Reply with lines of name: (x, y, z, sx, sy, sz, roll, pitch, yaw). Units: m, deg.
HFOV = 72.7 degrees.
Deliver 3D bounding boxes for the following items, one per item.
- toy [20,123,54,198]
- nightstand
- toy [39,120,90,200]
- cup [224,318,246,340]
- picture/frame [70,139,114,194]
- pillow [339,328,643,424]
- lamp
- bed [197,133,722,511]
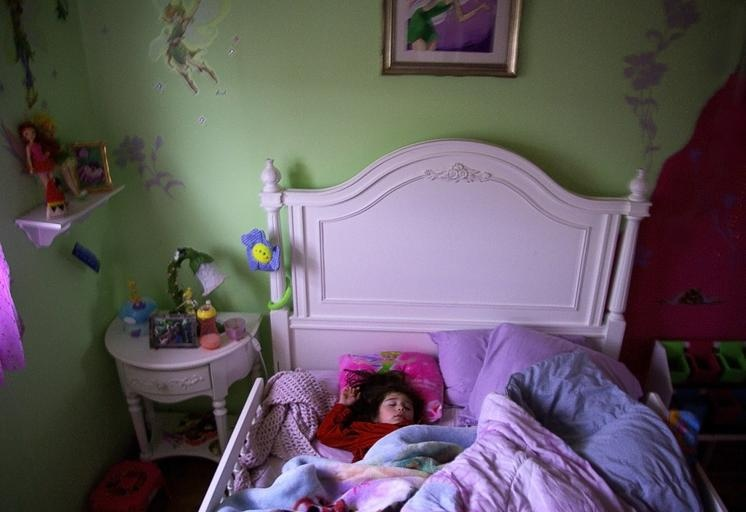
toy: (-1.522, -0.426, 2.326, 0.108, 0.358, 0.179, -15, 23, -31)
nightstand: (-1.094, 0.840, 2.908, 0.788, 0.808, 0.504, 0, 21, -9)
toy: (-1.487, -0.486, 2.494, 0.113, 0.359, 0.115, -6, 24, 29)
cup: (-0.754, 0.391, 2.775, 0.095, 0.080, 0.109, -4, 4, -18)
picture/frame: (-1.439, -0.456, 2.580, 0.027, 0.256, 0.234, 2, 28, 29)
pillow: (0.589, 0.549, 2.665, 1.104, 0.280, 0.694, -3, 37, 1)
lamp: (-0.966, 0.173, 2.780, 0.335, 0.459, 0.180, 7, 25, 7)
bed: (0.314, 0.512, 3.787, 2.641, 2.974, 1.636, 0, 26, 4)
